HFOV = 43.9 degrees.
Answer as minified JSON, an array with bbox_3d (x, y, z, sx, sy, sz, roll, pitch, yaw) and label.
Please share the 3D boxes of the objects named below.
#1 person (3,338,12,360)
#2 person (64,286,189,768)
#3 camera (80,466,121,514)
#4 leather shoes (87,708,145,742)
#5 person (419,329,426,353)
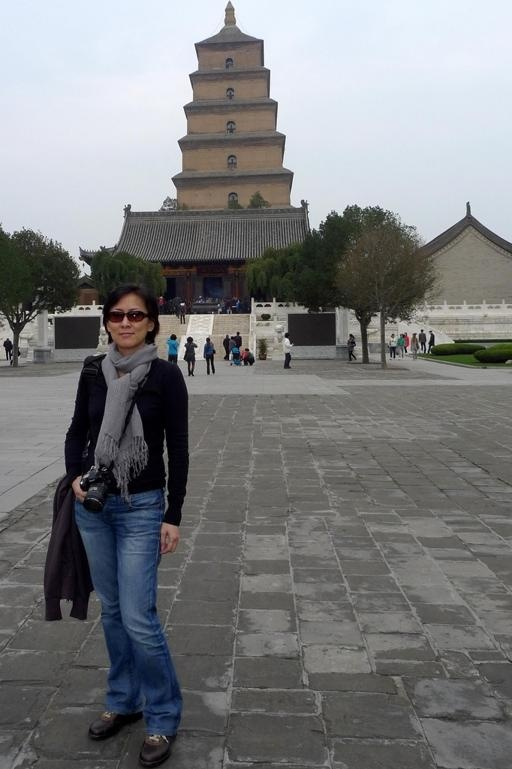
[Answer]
[{"bbox_3d":[-12.394,-1.783,31.603,0.308,1.053,2.374,-1,3,-22],"label":"person"},{"bbox_3d":[-0.371,0.360,1.873,0.353,1.327,0.585,-1,3,-19],"label":"person"},{"bbox_3d":[-0.430,0.298,1.782,0.071,0.121,0.109,22,-53,-34],"label":"camera"},{"bbox_3d":[-0.405,0.966,1.815,0.047,0.060,0.145,5,-11,38],"label":"leather shoes"},{"bbox_3d":[8.940,-2.312,34.139,0.313,1.259,1.918,1,3,16],"label":"person"}]
